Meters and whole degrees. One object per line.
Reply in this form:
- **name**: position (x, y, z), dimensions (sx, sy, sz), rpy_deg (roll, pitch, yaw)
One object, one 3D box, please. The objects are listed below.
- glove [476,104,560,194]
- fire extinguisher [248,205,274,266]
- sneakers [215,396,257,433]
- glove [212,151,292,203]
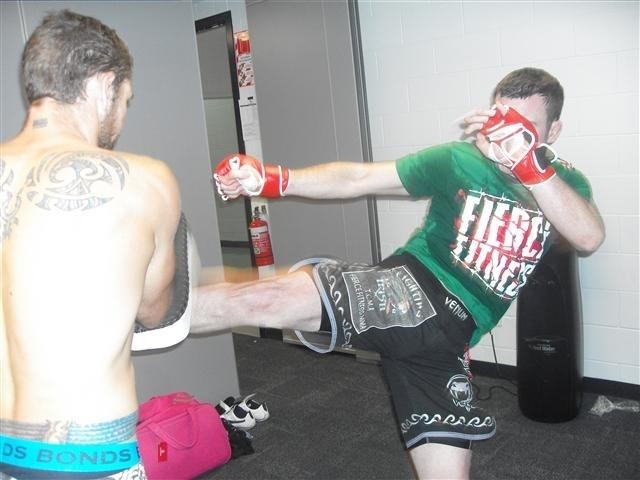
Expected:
- **glove**: position (0.736, -0.337, 1.706), dimensions (0.219, 0.301, 0.129), rpy_deg (-40, -15, 23)
- **fire extinguisher**: position (-0.453, -0.071, 3.752), dimensions (0.212, 0.504, 0.162), rpy_deg (2, 11, 42)
- **sneakers**: position (-0.468, 0.891, 2.456), dimensions (0.265, 0.107, 0.098), rpy_deg (20, 39, 31)
- **glove**: position (-0.302, -0.272, 1.889), dimensions (0.275, 0.183, 0.209), rpy_deg (-4, 16, -24)
